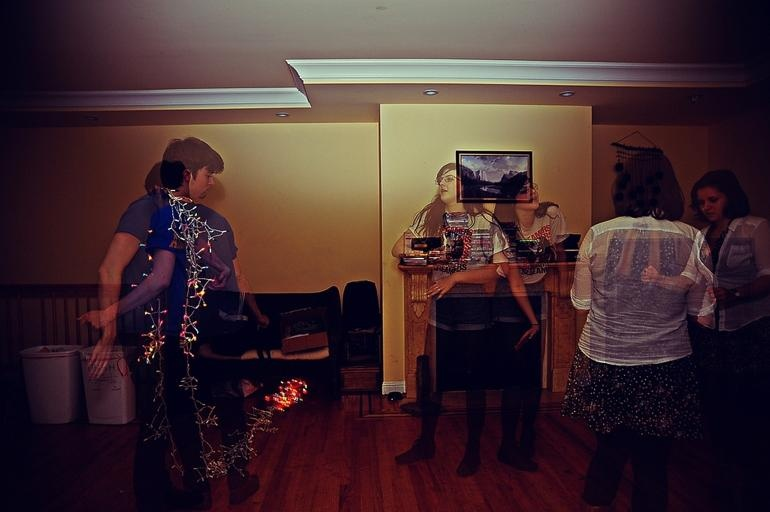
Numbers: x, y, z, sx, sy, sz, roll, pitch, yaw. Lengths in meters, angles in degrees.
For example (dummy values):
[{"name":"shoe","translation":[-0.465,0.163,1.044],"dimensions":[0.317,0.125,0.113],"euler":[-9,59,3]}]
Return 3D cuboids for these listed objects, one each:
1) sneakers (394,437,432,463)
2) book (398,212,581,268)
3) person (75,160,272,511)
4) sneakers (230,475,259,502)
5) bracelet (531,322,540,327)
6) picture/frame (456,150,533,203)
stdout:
[{"name":"sneakers","translation":[0.175,1.147,3.434],"dimensions":[0.241,0.086,0.161],"euler":[-2,38,0]},{"name":"book","translation":[0.902,-0.064,3.945],"dimensions":[0.946,0.422,0.216],"euler":[0,-30,0]},{"name":"person","translation":[-1.079,0.406,3.098],"dimensions":[0.738,1.671,0.382],"euler":[-3,1,-27]},{"name":"sneakers","translation":[-0.759,1.252,3.165],"dimensions":[0.100,0.047,0.146],"euler":[24,25,37]},{"name":"bracelet","translation":[0.899,0.395,3.483],"dimensions":[0.035,0.031,0.036],"euler":[-1,13,41]},{"name":"picture/frame","translation":[0.752,-0.520,3.883],"dimensions":[0.364,0.253,0.013],"euler":[0,-5,2]}]
